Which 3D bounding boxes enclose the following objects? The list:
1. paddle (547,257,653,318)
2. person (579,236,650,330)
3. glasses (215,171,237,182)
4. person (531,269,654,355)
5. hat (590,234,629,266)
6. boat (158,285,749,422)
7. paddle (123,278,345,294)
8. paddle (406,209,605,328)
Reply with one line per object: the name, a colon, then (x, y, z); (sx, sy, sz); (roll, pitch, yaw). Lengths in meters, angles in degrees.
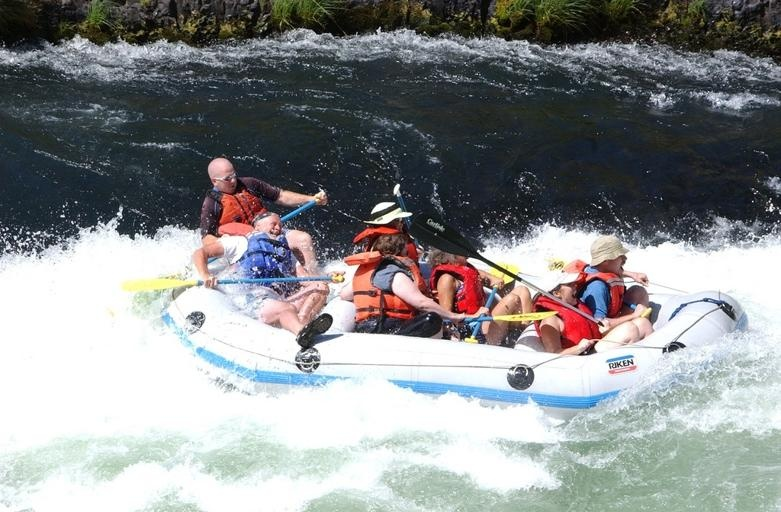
paddle: (2.567, 0.416, 9.522); (0.891, 0.819, 0.763); (-3, 42, 9)
person: (2.658, 0.370, 9.575); (0.698, 0.914, 0.564); (-16, 47, 12)
glasses: (-2.133, -1.028, 10.521); (0.265, 0.101, 0.121); (-13, 36, -38)
person: (2.294, 0.676, 9.147); (1.132, 0.648, 0.838); (-3, 24, 7)
hat: (2.504, -0.060, 9.359); (0.391, 0.201, 0.357); (-20, 7, 6)
boat: (0.485, 1.159, 8.963); (4.330, 0.708, 2.396); (4, 21, 11)
paddle: (-1.930, 0.365, 9.579); (2.562, 0.248, 0.149); (1, -1, -7)
paddle: (1.394, 0.210, 9.945); (3.066, 0.407, 0.226); (26, 8, 2)
